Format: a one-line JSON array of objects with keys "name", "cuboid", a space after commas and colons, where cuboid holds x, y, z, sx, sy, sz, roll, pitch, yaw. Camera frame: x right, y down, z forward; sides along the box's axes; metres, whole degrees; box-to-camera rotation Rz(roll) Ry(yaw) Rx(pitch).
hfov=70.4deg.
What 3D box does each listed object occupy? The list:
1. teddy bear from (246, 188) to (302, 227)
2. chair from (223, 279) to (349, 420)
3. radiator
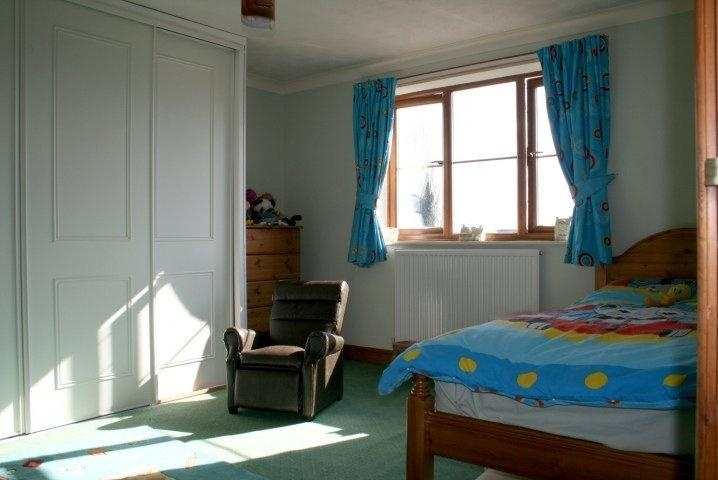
[{"name": "teddy bear", "cuboid": [-1.086, -0.377, 5.920, 0.799, 0.430, 0.665, -3, 5, -40]}, {"name": "chair", "cuboid": [-0.531, 0.942, 4.664, 1.023, 1.104, 1.120, -3, -5, 23]}, {"name": "radiator", "cuboid": [1.007, 0.525, 4.687, 1.050, 0.786, 0.124, -2, -4, 30]}]
